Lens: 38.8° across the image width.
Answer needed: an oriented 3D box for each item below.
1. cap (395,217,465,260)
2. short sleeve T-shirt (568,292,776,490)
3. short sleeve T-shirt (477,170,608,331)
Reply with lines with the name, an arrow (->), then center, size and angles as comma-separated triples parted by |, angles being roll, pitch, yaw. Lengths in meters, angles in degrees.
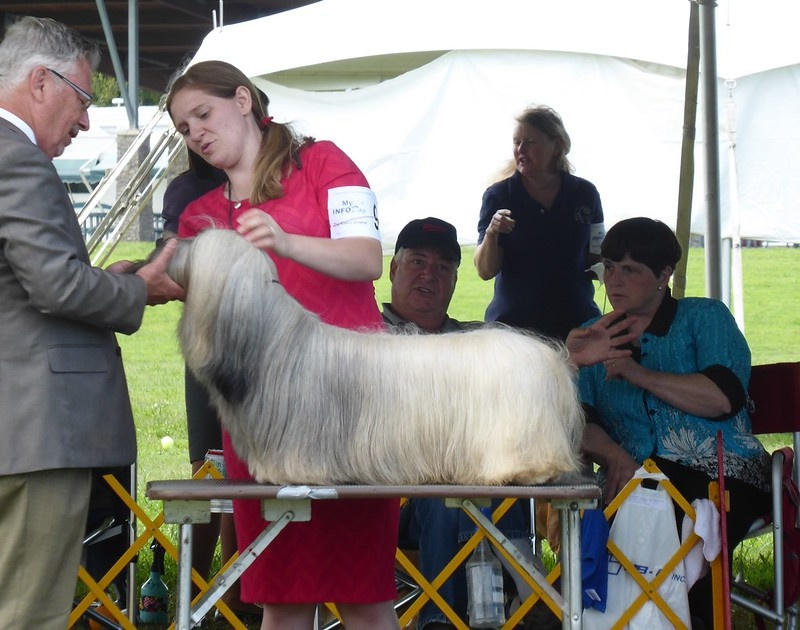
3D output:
cap -> 0.162, -0.426, 6.212 | 0.309, 0.246, 0.435 | 10, -3, -12
short sleeve T-shirt -> 1.274, 0.450, 5.463 | 0.792, 1.032, 0.660 | -13, -23, 23
short sleeve T-shirt -> 0.860, -0.379, 6.841 | 0.847, 1.116, 0.561 | -1, -7, 1
